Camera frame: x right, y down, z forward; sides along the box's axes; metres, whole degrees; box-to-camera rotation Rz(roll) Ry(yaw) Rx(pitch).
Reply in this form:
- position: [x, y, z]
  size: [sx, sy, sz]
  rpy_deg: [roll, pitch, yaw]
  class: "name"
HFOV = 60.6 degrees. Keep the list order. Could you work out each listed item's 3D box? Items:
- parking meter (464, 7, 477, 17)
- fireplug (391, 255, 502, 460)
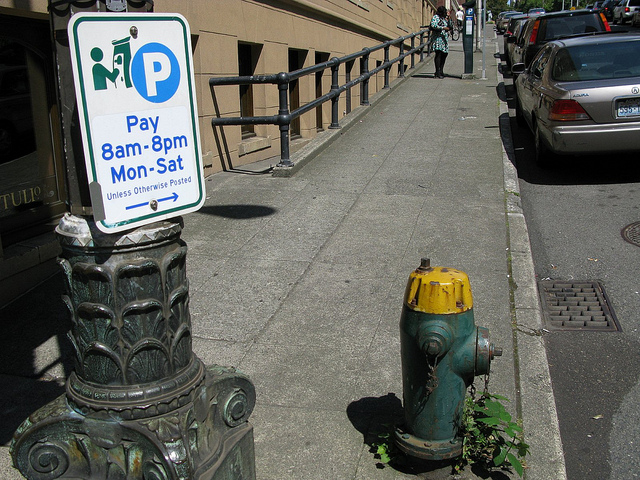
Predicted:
- position: [5.085, -7.769, 18.672]
  size: [0.257, 0.313, 0.634]
  rpy_deg: [1, 24, 10]
  class: "parking meter"
- position: [0.692, 0.558, 3.806]
  size: [0.849, 1.549, 1.090]
  rpy_deg: [-1, 17, 6]
  class: "fireplug"
